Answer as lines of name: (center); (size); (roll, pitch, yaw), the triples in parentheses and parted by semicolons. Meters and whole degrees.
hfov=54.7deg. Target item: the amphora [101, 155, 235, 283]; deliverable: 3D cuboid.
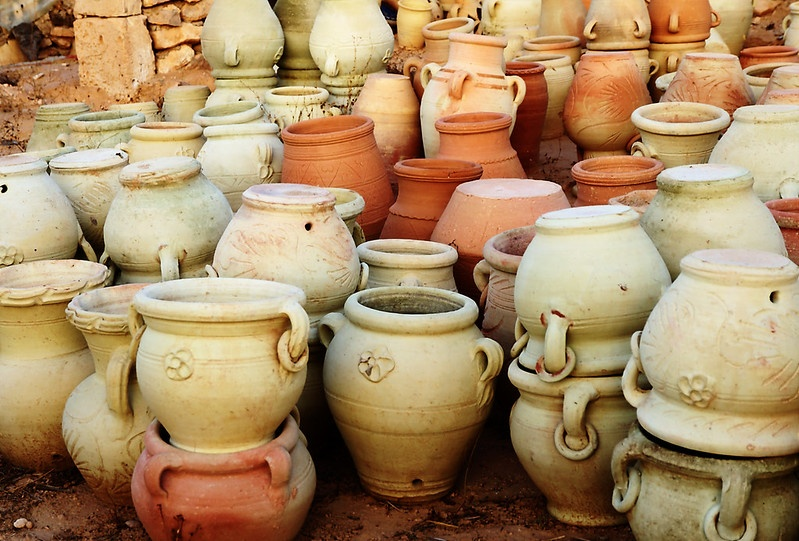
amphora: (-1.596, -0.275, 5.330); (0.957, 0.992, 0.973); (-3, 28, -11)

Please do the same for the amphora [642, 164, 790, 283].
amphora: (1.778, -0.278, 4.403); (0.646, 0.656, 0.659); (4, 8, 41)

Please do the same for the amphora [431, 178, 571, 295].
amphora: (0.627, -0.316, 5.393); (0.780, 0.580, 0.801); (-2, 9, -2)

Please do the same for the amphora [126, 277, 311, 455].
amphora: (-0.923, 0.517, 4.158); (0.856, 0.775, 0.967); (-6, 9, -45)

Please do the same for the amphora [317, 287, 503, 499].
amphora: (0.063, 0.715, 4.649); (1.118, 1.154, 0.997); (8, 15, 28)

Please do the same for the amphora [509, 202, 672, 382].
amphora: (0.991, 0.090, 4.218); (0.808, 0.835, 1.020); (7, 20, 42)

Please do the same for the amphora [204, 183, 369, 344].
amphora: (-0.678, -0.008, 4.799); (0.970, 0.921, 0.865); (0, 13, -8)

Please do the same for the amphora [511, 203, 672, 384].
amphora: (0.980, 0.099, 4.203); (0.803, 0.825, 1.011); (5, 17, 35)
